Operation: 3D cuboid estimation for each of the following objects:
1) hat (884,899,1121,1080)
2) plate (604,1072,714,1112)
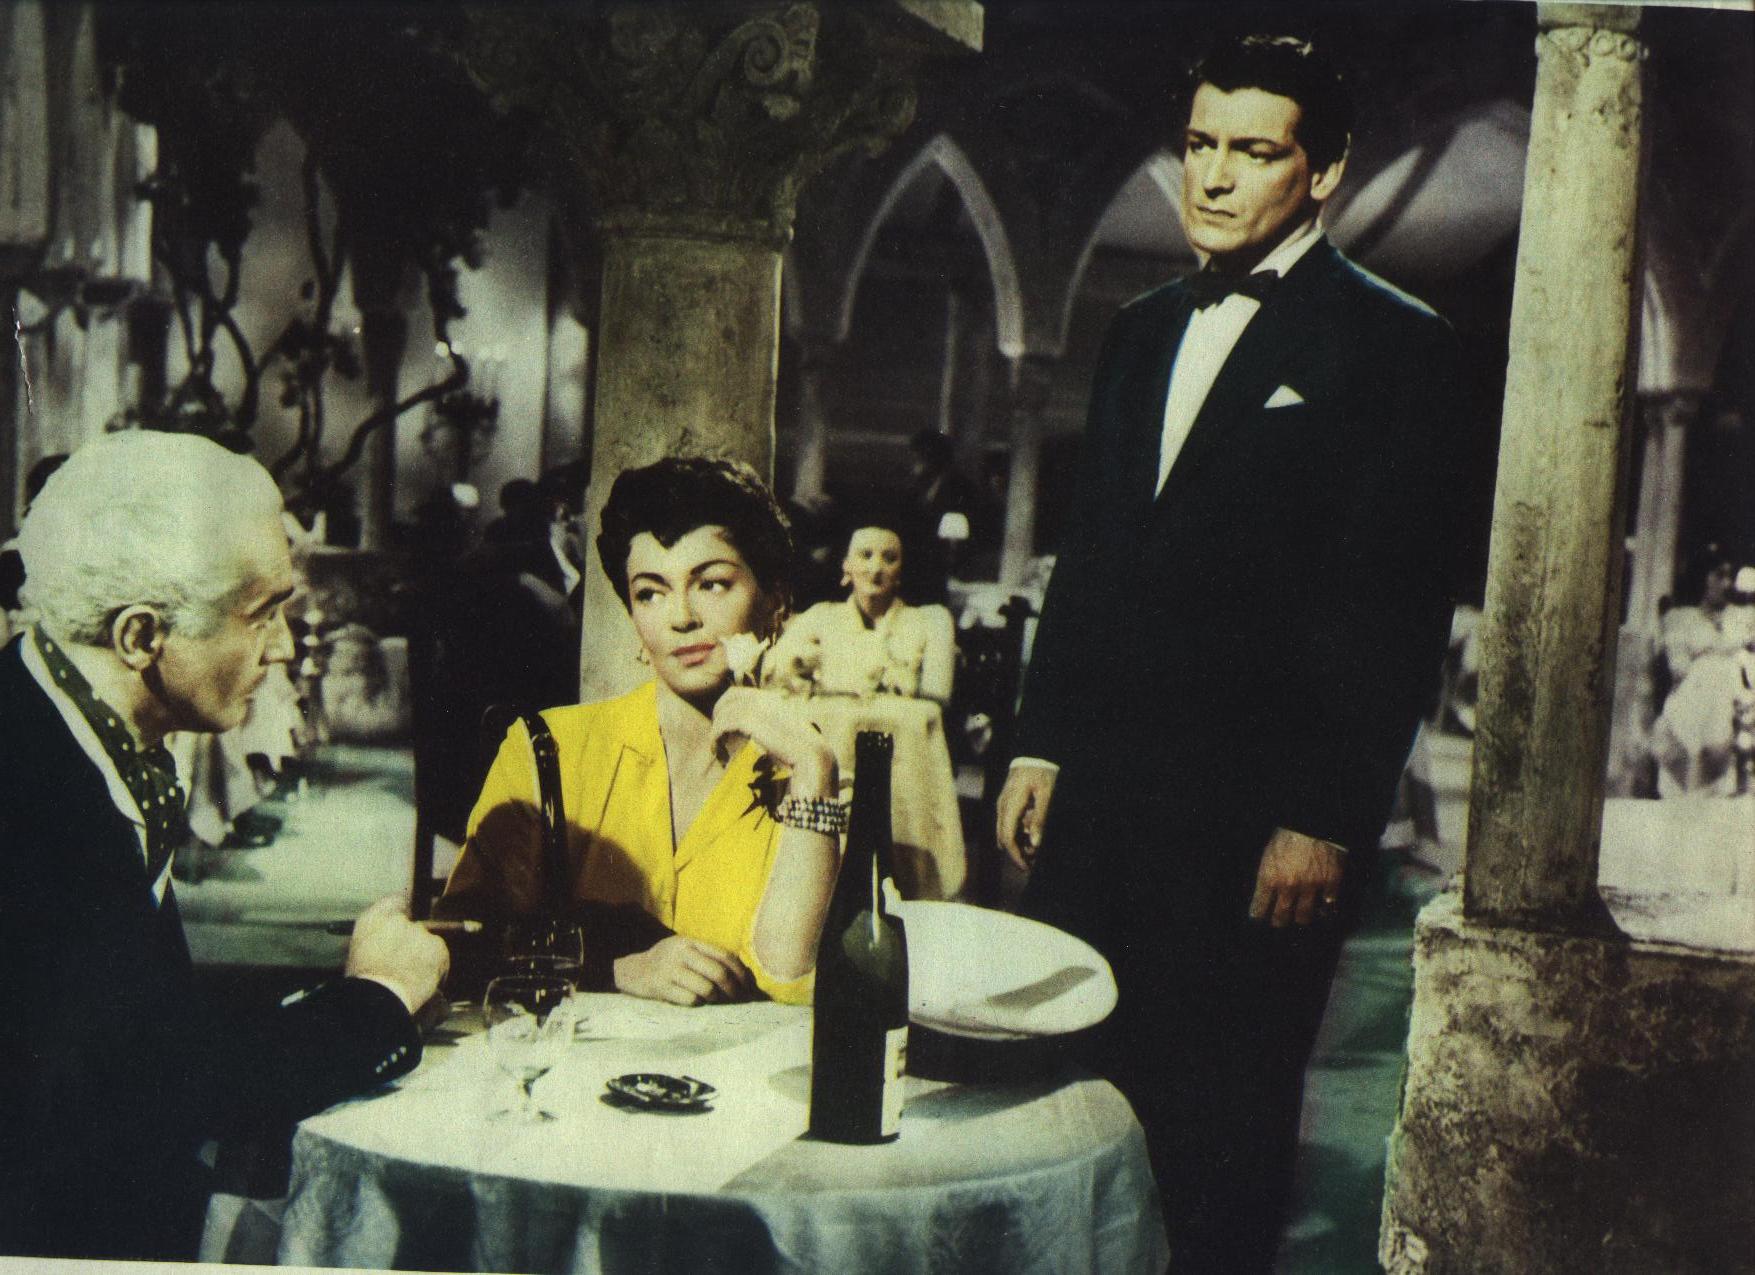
[{"bbox_3d":[0.286,0.795,4.480,0.366,0.135,0.388,4,13,9],"label":"hat"},{"bbox_3d":[-0.422,0.886,3.900,0.110,0.021,0.101,6,11,4],"label":"plate"}]
